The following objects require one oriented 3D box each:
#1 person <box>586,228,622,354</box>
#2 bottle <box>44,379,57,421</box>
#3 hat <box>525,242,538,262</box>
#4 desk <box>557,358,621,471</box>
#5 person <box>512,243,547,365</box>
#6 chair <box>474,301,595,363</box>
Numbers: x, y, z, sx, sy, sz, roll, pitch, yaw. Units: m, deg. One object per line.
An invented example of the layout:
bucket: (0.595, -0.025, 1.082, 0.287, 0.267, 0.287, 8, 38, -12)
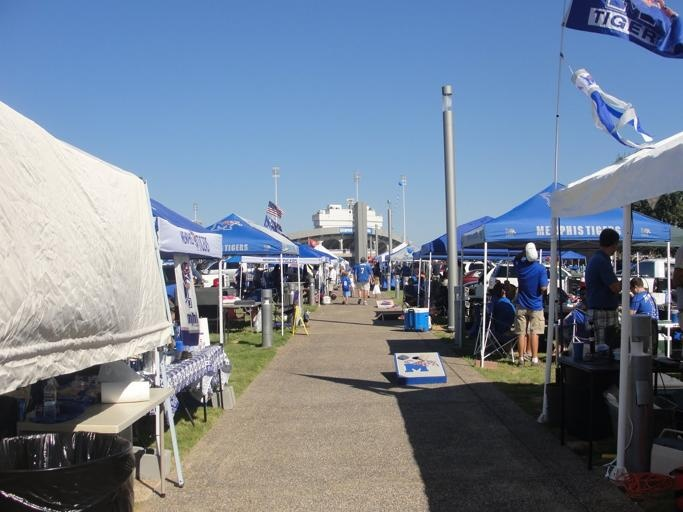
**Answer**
person: (3.206, 0.410, 7.561, 0.389, 0.979, 0.387, -2, -1, 24)
bottle: (-2.527, 1.234, 5.326, 0.106, 0.342, 0.177, -1, -1, -27)
hat: (3.499, -0.085, 11.133, 0.213, 0.365, 0.324, 2, 2, -7)
desk: (2.802, 1.692, 6.926, 0.627, 0.725, 1.145, -1, -2, 3)
person: (3.502, 0.864, 11.431, 0.673, 2.221, 0.666, 2, -4, 31)
chair: (3.374, 1.330, 10.743, 1.180, 0.790, 1.276, -2, 3, 13)
